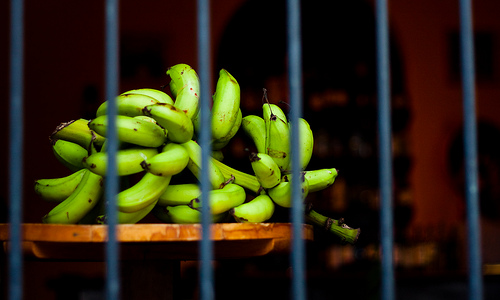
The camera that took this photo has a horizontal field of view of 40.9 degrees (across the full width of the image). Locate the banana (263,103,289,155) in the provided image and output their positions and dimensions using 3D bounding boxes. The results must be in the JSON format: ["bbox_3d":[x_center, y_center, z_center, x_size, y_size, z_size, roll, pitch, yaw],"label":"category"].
[{"bbox_3d":[0.154,-0.137,4.012,0.142,0.332,0.192,-2,-5,1],"label":"banana"}]

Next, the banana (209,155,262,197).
[{"bbox_3d":[-0.088,0.158,3.969,0.430,0.120,0.092,31,-7,-6],"label":"banana"}]

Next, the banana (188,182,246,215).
[{"bbox_3d":[-0.179,0.276,3.839,0.285,0.154,0.097,-13,-30,-16],"label":"banana"}]

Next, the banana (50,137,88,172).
[{"bbox_3d":[-1.064,0.020,3.991,0.136,0.251,0.088,-21,25,17],"label":"banana"}]

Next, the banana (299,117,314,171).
[{"bbox_3d":[0.326,-0.041,3.971,0.065,0.321,0.176,-4,-5,19],"label":"banana"}]

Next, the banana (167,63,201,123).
[{"bbox_3d":[-0.356,-0.353,3.984,0.225,0.485,0.128,-5,-34,-4],"label":"banana"}]

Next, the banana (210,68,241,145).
[{"bbox_3d":[-0.149,-0.267,3.984,0.182,0.452,0.113,-2,-5,-4],"label":"banana"}]
